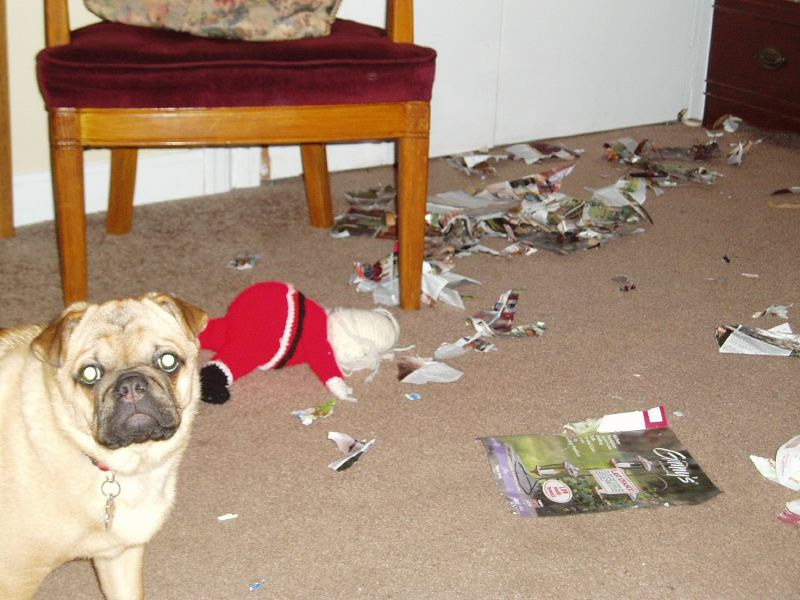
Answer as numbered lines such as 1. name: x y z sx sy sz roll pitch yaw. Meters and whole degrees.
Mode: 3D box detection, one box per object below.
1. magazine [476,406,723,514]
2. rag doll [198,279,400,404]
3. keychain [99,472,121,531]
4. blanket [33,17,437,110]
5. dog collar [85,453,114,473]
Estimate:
1. magazine: 0.402 0.333 1.412 0.436 0.054 0.261 -4 23 -7
2. rag doll: -0.241 0.094 1.653 0.418 0.137 0.261 -10 66 -34
3. keychain: -0.449 0.307 1.048 0.032 0.078 0.009 -1 -14 -5
4. blanket: -0.384 -0.590 1.735 0.943 0.191 0.273 -5 24 -9
5. dog collar: -0.463 0.250 1.054 0.027 0.027 0.009 3 53 47
